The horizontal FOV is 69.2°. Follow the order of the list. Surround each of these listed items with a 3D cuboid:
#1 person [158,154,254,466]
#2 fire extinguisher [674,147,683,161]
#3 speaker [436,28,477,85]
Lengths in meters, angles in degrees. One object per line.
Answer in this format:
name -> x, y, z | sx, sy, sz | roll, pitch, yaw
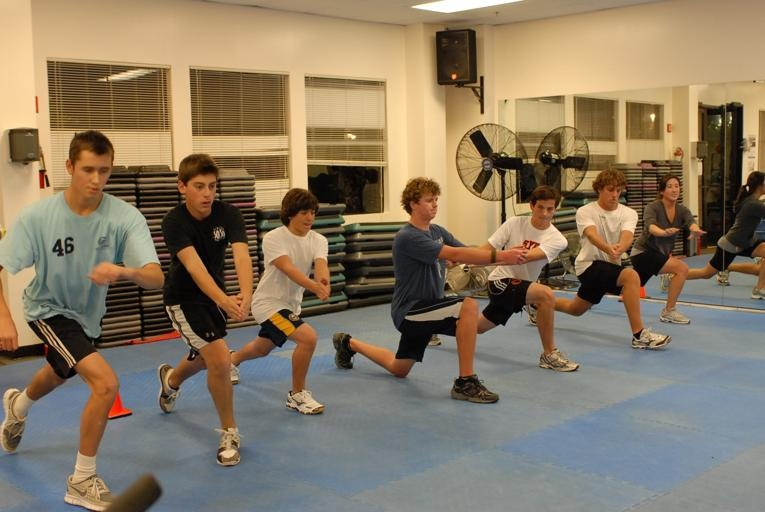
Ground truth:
person -> -1.260, 0.320, 4.000 | 0.553, 2.070, 1.083 | -6, 8, -28
fire extinguisher -> 4.433, -1.560, 8.440 | 0.184, 0.181, 0.113 | 0, 5, -12
speaker -> 1.276, -3.496, 9.794 | 0.693, 0.928, 0.314 | -1, 7, 2
